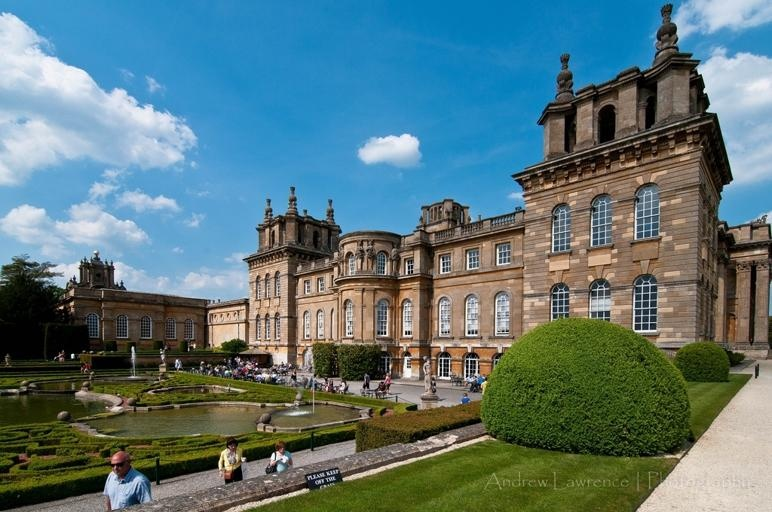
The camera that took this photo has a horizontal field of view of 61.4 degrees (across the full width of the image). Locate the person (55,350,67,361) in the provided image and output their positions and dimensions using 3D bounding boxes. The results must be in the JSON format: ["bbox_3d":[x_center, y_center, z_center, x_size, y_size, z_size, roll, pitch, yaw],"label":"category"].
[{"bbox_3d":[-35.228,10.745,70.276,0.824,0.973,1.665,-11,-22,34],"label":"person"}]
